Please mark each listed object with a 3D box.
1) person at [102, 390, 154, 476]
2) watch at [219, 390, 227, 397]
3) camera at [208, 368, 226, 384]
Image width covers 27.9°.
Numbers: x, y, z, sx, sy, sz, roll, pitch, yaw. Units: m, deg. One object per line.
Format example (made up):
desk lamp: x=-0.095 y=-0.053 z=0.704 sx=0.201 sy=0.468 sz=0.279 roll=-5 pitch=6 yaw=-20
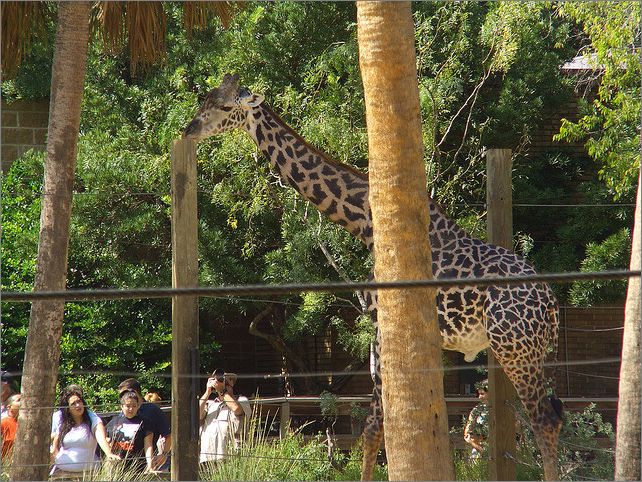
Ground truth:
person: x=-2.518 y=2.554 z=16.902 sx=0.741 sy=1.569 sz=0.634 roll=-3 pitch=-13 yaw=-6
watch: x=-1.315 y=2.047 z=17.345 sx=0.062 sy=0.101 sz=0.085 roll=8 pitch=-8 yaw=45
camera: x=-1.381 y=1.815 z=17.328 sx=0.154 sy=0.166 sz=0.164 roll=-4 pitch=36 yaw=-4
